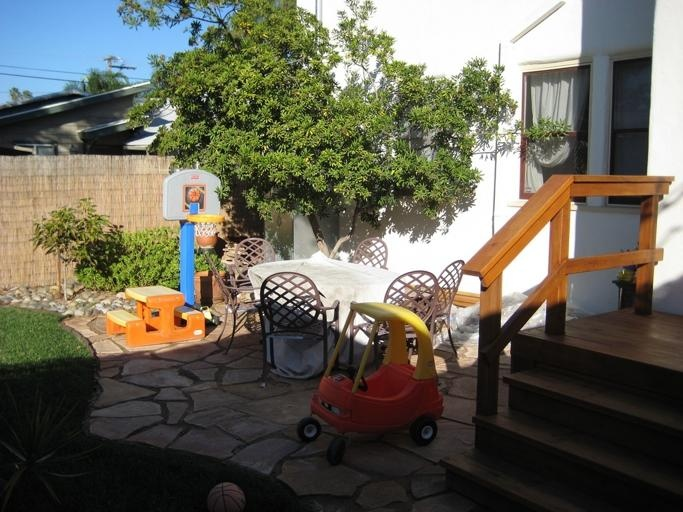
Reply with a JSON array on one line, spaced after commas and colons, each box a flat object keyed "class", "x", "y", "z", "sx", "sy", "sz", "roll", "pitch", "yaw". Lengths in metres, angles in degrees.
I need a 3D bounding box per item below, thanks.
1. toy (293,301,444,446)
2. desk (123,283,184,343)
[{"class": "toy", "x": 0.248, "y": 1.031, "z": 4.534, "sx": 1.224, "sy": 1.152, "sz": 0.780, "roll": 0, "pitch": 0, "yaw": -23}, {"class": "desk", "x": -2.589, "y": 0.797, "z": 7.104, "sx": 0.749, "sy": 0.679, "sz": 0.623, "roll": -5, "pitch": 13, "yaw": -24}]
